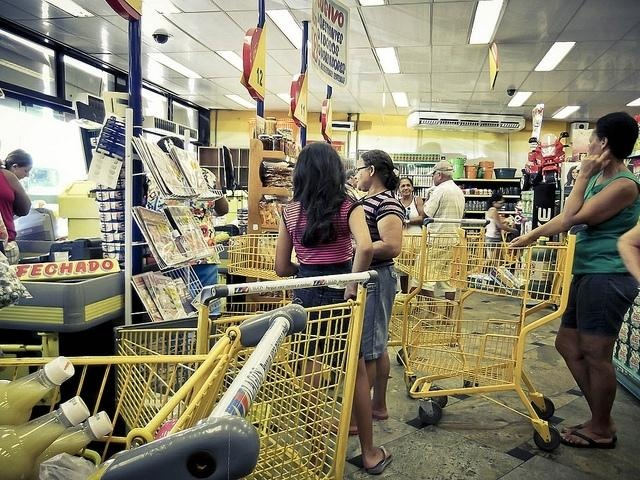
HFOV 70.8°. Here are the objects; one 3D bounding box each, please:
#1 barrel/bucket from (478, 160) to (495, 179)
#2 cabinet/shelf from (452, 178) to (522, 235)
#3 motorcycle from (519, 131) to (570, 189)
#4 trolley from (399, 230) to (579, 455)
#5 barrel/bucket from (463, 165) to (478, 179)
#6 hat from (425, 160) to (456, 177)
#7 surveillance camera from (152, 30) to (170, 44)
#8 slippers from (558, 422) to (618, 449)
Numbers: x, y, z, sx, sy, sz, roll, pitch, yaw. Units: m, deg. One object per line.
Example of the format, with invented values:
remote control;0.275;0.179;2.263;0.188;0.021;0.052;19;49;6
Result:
barrel/bucket;4.437;-1.842;11.985;0.422;0.464;0.361;2;5;9
cabinet/shelf;3.441;-0.721;9.155;1.548;1.448;0.475;0;-4;-1
motorcycle;4.084;-1.267;7.773;0.636;0.930;1.634;5;3;9
trolley;1.162;0.616;3.656;1.062;1.198;0.863;10;8;21
barrel/bucket;3.954;-1.749;11.930;0.401;0.374;0.318;1;0;-1
hat;1.464;-0.901;5.678;0.407;0.230;0.288;6;4;25
surveillance camera;-2.685;-3.422;7.562;0.152;0.135;0.169;-1;2;-4
slippers;1.761;1.299;2.949;0.300;0.077;0.168;2;1;15
